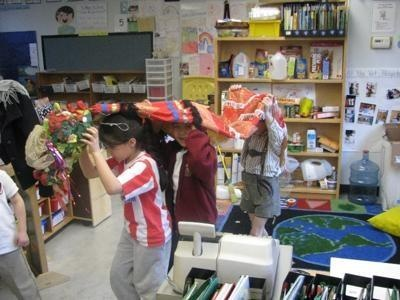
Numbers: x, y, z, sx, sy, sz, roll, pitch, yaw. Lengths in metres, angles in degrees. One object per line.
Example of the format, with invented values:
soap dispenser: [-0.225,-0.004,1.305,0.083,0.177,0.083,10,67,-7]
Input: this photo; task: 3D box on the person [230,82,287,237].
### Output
person: [0.507,0.157,2.875,0.490,1.448,0.637,2,14,16]

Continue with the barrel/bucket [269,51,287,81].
barrel/bucket: [1.071,-1.152,4.446,0.263,0.387,0.231,0,1,6]

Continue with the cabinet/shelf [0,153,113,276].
cabinet/shelf: [-1.255,0.599,2.809,0.293,0.877,0.925,0,20,18]

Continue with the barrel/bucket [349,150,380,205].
barrel/bucket: [2.315,0.355,4.541,0.382,0.722,0.500,6,15,30]

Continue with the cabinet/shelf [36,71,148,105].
cabinet/shelf: [-1.865,-1.092,5.594,2.079,0.550,0.367,2,14,14]

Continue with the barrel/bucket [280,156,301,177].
barrel/bucket: [1.176,0.202,4.214,0.227,0.196,0.294,15,-20,-8]
